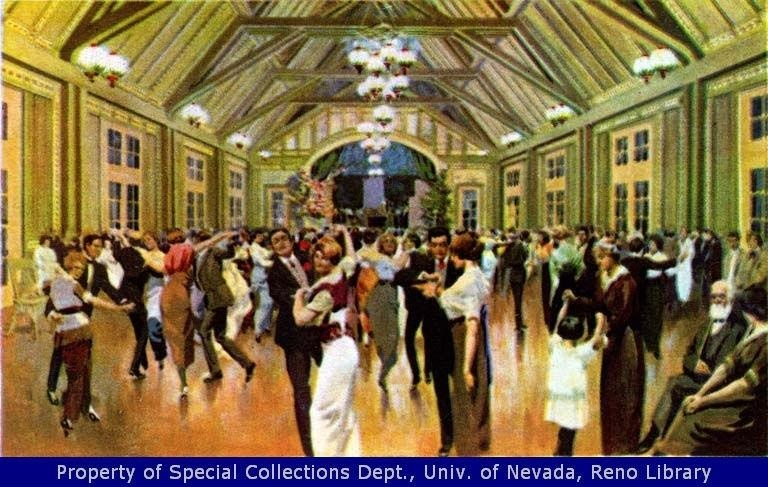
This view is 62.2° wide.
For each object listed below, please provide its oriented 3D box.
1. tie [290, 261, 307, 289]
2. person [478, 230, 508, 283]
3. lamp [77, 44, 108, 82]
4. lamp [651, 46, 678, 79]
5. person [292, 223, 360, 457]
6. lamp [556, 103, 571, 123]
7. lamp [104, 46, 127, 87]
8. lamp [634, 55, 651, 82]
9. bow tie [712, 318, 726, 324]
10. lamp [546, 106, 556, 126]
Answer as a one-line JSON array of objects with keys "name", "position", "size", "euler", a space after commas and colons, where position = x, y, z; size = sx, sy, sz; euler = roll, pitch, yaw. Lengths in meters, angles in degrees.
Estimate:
[{"name": "tie", "position": [-1.128, 0.404, 8.117], "size": [0.088, 0.355, 0.219], "euler": [-29, -1, -23]}, {"name": "person", "position": [1.874, 0.253, 10.812], "size": [0.375, 1.271, 0.392], "euler": [-1, -29, -1]}, {"name": "lamp", "position": [-5.189, -3.211, 11.281], "size": [0.501, 0.490, 0.405], "euler": [0, -5, 14]}, {"name": "lamp", "position": [5.038, -3.234, 11.446], "size": [0.390, 0.484, 0.264], "euler": [3, -5, -21]}, {"name": "person", "position": [-0.644, 1.181, 7.228], "size": [0.749, 2.456, 0.480], "euler": [1, -5, -4]}, {"name": "lamp", "position": [4.122, -2.870, 14.363], "size": [0.421, 0.495, 0.430], "euler": [0, 3, -1]}, {"name": "lamp", "position": [-4.896, -3.171, 11.479], "size": [0.333, 0.474, 0.383], "euler": [4, -5, -27]}, {"name": "lamp", "position": [4.798, -3.193, 11.713], "size": [0.292, 0.514, 0.441], "euler": [-1, -5, 22]}, {"name": "bow tie", "position": [3.847, 0.874, 7.266], "size": [0.122, 0.054, 0.031], "euler": [-1, -5, 24]}, {"name": "lamp", "position": [3.882, -2.952, 14.666], "size": [0.188, 0.487, 0.896], "euler": [0, -5, 15]}]
